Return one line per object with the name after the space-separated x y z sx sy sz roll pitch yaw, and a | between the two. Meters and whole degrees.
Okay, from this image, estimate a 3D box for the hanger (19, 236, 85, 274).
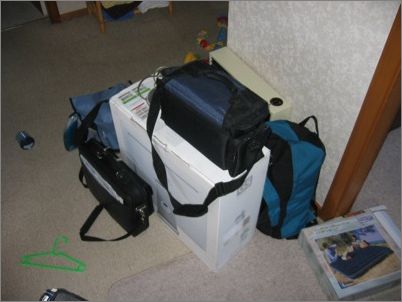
-0.855 0.610 2.114 0.398 0.041 0.199 2 51 7 | hanger

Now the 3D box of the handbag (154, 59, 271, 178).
0.074 -0.223 1.803 0.656 0.411 0.297 34 71 11 | handbag

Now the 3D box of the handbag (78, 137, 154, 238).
-0.520 0.217 2.140 0.243 0.495 0.512 -36 66 -23 | handbag

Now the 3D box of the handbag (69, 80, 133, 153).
-0.683 -0.223 2.315 0.405 0.129 0.446 -25 74 13 | handbag

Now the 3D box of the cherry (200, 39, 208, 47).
0.025 -0.965 3.139 0.066 0.046 0.131 -5 50 1 | cherry
